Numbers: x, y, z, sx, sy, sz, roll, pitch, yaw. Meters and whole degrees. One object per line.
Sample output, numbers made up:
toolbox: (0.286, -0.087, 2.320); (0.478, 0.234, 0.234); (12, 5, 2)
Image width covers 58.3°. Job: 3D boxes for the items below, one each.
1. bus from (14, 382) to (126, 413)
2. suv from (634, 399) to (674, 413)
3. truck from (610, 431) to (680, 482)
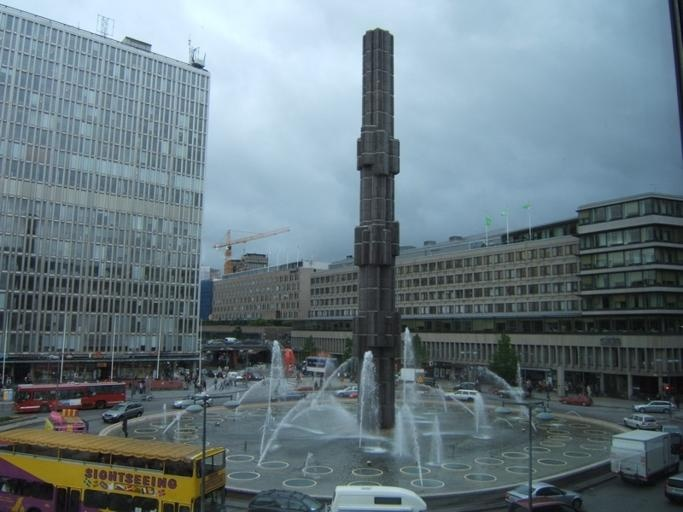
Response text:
bus: (-35.633, 18.978, 80.034); (16.922, 3.655, 3.170); (3, -6, -38)
suv: (41.369, 20.281, 81.665); (4.749, 1.546, 2.581); (-1, -12, -2)
truck: (26.675, 17.514, 54.597); (6.012, 2.965, 3.179); (1, -9, -33)
